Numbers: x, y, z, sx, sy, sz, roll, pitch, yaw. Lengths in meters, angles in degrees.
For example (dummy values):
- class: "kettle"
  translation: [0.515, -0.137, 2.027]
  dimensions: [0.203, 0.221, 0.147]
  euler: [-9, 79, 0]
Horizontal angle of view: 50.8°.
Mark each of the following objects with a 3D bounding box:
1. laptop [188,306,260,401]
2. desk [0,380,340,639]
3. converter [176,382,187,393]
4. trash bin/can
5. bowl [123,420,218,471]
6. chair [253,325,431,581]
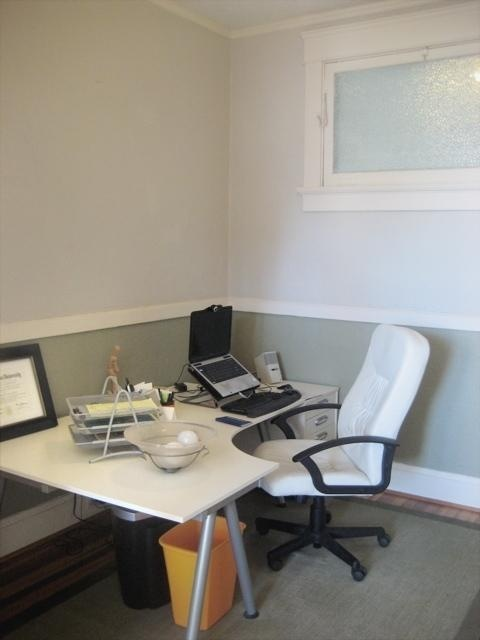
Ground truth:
- class: "laptop"
  translation: [-0.061, 0.146, 2.353]
  dimensions: [0.339, 0.363, 0.306]
  euler: [-1, 18, -27]
- class: "desk"
  translation: [-0.267, 0.618, 1.629]
  dimensions: [0.760, 0.531, 0.696]
  euler: [3, 6, 30]
- class: "converter"
  translation: [-0.292, 0.330, 2.464]
  dimensions: [0.025, 0.031, 0.084]
  euler: [-4, 9, -26]
- class: "trash bin/can"
  translation: [-0.133, 0.861, 1.717]
  dimensions: [0.269, 0.275, 0.279]
  euler: [-2, 0, 3]
- class: "bowl"
  translation: [-0.187, 0.375, 1.432]
  dimensions: [0.216, 0.083, 0.218]
  euler: [-1, 1, 0]
- class: "chair"
  translation: [0.380, 0.506, 2.108]
  dimensions: [0.718, 0.964, 0.619]
  euler: [-1, 6, -23]
